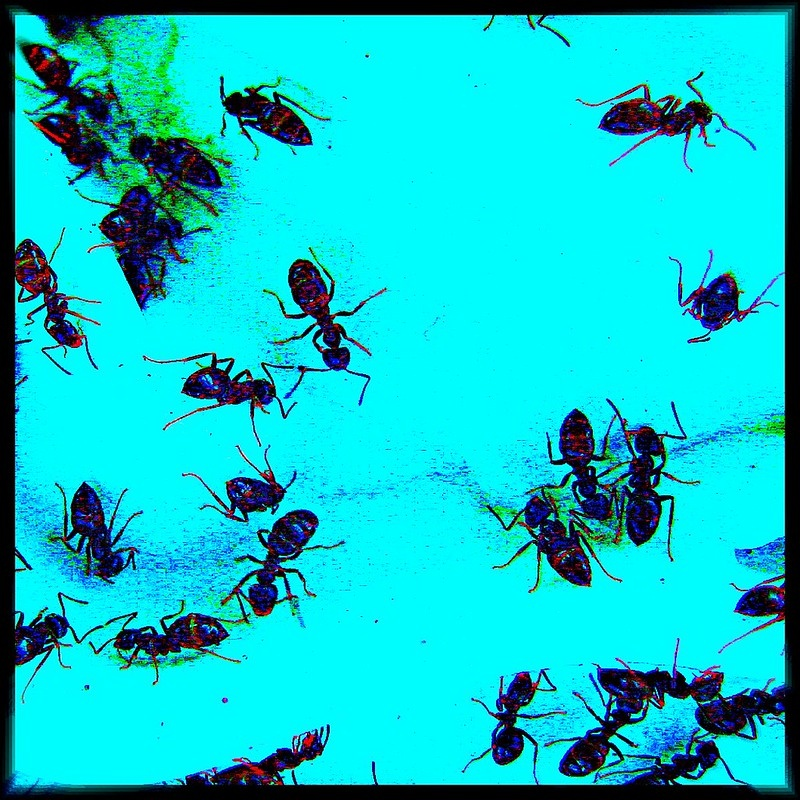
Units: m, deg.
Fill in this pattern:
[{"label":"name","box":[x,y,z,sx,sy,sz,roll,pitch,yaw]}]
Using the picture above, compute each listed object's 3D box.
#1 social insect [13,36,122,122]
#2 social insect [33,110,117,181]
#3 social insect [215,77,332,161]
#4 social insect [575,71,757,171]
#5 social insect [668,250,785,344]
[{"label":"social insect","box":[-0.830,-0.789,2.831,0.245,0.061,0.166,39,-89,-8]},{"label":"social insect","box":[-0.818,-0.646,2.889,0.224,0.049,0.111,28,-85,-3]},{"label":"social insect","box":[-0.337,-0.707,2.832,0.293,0.184,0.072,20,-98,-9]},{"label":"social insect","box":[0.660,-0.679,2.832,0.391,0.130,0.213,-12,-57,4]},{"label":"social insect","box":[0.784,-0.240,2.778,0.277,0.076,0.241,28,-87,-2]}]
